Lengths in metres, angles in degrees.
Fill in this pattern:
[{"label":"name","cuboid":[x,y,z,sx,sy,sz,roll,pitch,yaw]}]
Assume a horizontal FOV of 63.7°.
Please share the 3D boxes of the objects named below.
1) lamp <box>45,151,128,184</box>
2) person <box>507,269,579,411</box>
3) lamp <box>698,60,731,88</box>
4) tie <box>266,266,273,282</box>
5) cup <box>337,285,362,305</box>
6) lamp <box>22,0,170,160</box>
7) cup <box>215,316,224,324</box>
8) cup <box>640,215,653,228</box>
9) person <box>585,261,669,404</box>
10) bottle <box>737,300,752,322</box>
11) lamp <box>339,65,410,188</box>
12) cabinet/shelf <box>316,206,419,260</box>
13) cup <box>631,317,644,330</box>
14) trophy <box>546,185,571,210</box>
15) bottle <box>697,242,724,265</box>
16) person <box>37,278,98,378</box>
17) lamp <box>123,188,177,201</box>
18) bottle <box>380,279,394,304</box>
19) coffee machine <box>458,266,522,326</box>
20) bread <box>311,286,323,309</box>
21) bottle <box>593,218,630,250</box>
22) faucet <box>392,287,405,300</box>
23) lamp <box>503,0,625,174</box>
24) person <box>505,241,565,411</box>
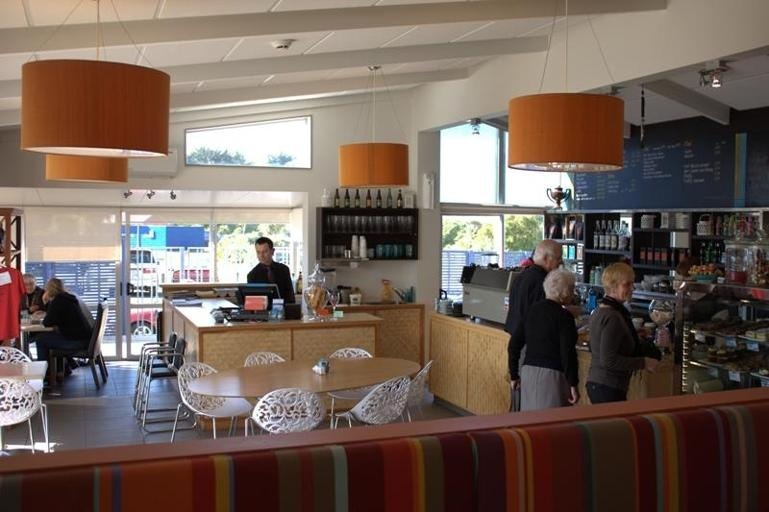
[{"label":"lamp","cuboid":[-3.015,-0.878,6.297,0.679,0.300,0.679,2,0,-33]},{"label":"person","cuboid":[1.344,0.714,5.016,0.477,1.196,0.303,5,11,20]},{"label":"lamp","cuboid":[3.121,-1.737,5.891,0.218,0.208,0.456,7,13,29]},{"label":"tie","cuboid":[-1.439,0.221,7.780,0.074,0.183,0.097,-1,11,-10]},{"label":"cup","cuboid":[-0.512,0.589,9.359,0.314,0.316,0.249,0,2,15]},{"label":"lamp","cuboid":[-1.855,-1.053,3.863,0.694,0.770,0.705,-1,-6,5]},{"label":"cup","cuboid":[-1.921,0.744,7.227,0.071,0.102,0.086,2,-1,9]},{"label":"cup","cuboid":[3.759,-0.496,8.879,0.180,0.199,0.182,2,1,0]},{"label":"person","cuboid":[1.963,0.676,5.069,0.698,1.246,0.473,-9,14,-42]},{"label":"bottle","cuboid":[2.911,0.445,5.011,0.124,0.235,0.133,0,-2,0]},{"label":"lamp","cuboid":[-0.093,-1.120,7.146,0.619,1.087,0.626,0,-3,7]},{"label":"cabinet/shelf","cuboid":[-0.218,-0.330,9.390,1.409,0.779,0.398,0,-1,0]},{"label":"cup","cuboid":[2.375,0.629,5.825,0.105,0.101,0.115,1,6,0]},{"label":"trophy","cuboid":[2.782,-0.935,9.854,0.498,0.506,0.329,-1,-1,14]},{"label":"bottle","cuboid":[4.275,-0.061,8.131,0.305,0.289,0.251,7,12,27]},{"label":"person","cuboid":[-4.597,1.074,8.949,0.903,1.435,0.619,5,9,10]},{"label":"lamp","cuboid":[-3.684,-0.972,9.756,0.831,0.192,0.790,-3,12,-19]},{"label":"bottle","cuboid":[0.056,0.534,9.590,0.203,0.323,0.297,1,11,-1]},{"label":"coffee machine","cuboid":[1.375,0.456,7.299,0.539,0.714,0.884,-1,4,-31]},{"label":"bread","cuboid":[-0.811,0.496,7.509,0.167,0.222,0.103,5,-1,16]},{"label":"bottle","cuboid":[3.456,-0.324,9.377,0.159,0.458,0.468,0,2,-39]},{"label":"faucet","cuboid":[0.225,0.604,9.717,0.183,0.162,0.142,0,0,-8]},{"label":"lamp","cuboid":[1.360,-1.002,4.616,0.645,0.746,0.655,-2,-4,38]},{"label":"person","cuboid":[1.446,0.767,5.793,0.608,1.812,0.540,3,6,18]}]
